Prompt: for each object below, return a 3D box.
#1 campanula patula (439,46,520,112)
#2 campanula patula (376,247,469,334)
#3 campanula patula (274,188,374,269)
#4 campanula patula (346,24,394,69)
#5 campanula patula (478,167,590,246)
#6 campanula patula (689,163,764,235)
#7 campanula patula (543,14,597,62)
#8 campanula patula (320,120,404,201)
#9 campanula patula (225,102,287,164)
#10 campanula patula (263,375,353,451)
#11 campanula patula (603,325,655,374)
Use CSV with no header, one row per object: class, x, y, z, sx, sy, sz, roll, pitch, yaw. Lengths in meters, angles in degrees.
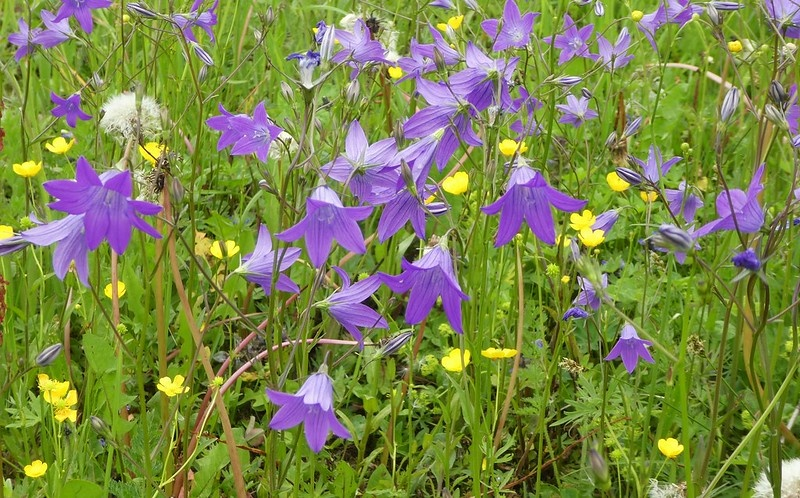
campanula patula,0.358,-0.753,3.837,0.301,0.289,0.185,5,17,-5
campanula patula,0.094,0.178,3.629,0.367,0.334,0.254,6,17,-3
campanula patula,-0.300,-0.090,3.491,0.278,0.390,0.146,-15,-7,4
campanula patula,-0.147,-0.968,4.114,0.188,0.199,0.228,5,19,-6
campanula patula,0.520,-0.239,3.664,0.367,0.304,0.367,24,-6,-39
campanula patula,1.422,-0.202,3.733,0.367,0.358,0.213,-4,19,-30
campanula patula,0.938,-1.112,4.686,0.219,0.278,0.388,11,19,15
campanula patula,-0.175,-0.381,3.771,0.324,0.352,0.170,4,16,-8
campanula patula,-0.640,-0.520,3.944,0.243,0.313,0.200,8,17,5
campanula patula,-0.377,0.680,3.608,0.244,0.384,0.150,0,23,29
campanula patula,1.107,0.490,4.194,0.145,0.140,0.344,4,-25,-6
